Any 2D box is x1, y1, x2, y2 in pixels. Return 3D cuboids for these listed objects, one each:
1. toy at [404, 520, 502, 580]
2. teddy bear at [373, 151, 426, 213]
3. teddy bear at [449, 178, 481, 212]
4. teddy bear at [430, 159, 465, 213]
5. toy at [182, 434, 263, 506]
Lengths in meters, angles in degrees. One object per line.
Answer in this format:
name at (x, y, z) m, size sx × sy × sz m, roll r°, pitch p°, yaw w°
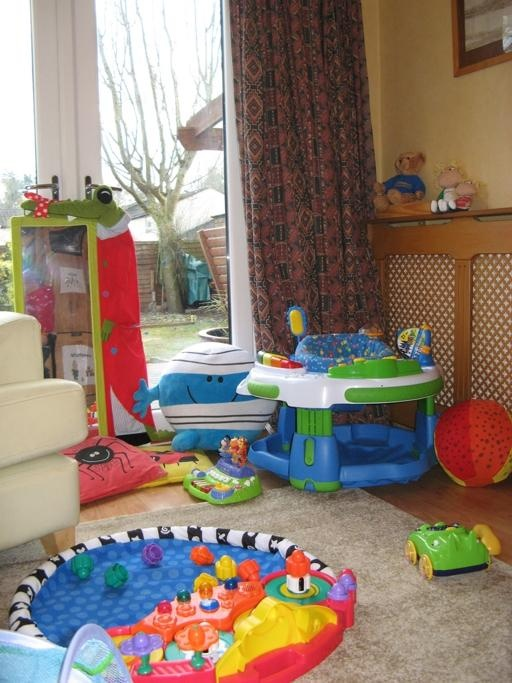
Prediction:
toy at (0.482, 0.510, 1.386) m, size 0.125 × 0.087 × 0.184 m, roll -2°, pitch 6°, yaw -6°
teddy bear at (0.680, -0.755, 2.671) m, size 0.239 × 0.271 × 0.265 m, roll 0°, pitch 3°, yaw 14°
teddy bear at (0.858, -0.599, 2.348) m, size 0.097 × 0.121 × 0.083 m, roll 1°, pitch 3°, yaw 18°
teddy bear at (0.824, -0.657, 2.428) m, size 0.138 × 0.223 × 0.125 m, roll -2°, pitch 0°, yaw 40°
toy at (-0.106, 0.445, 1.984) m, size 0.241 × 0.172 × 0.244 m, roll 0°, pitch 3°, yaw -29°
